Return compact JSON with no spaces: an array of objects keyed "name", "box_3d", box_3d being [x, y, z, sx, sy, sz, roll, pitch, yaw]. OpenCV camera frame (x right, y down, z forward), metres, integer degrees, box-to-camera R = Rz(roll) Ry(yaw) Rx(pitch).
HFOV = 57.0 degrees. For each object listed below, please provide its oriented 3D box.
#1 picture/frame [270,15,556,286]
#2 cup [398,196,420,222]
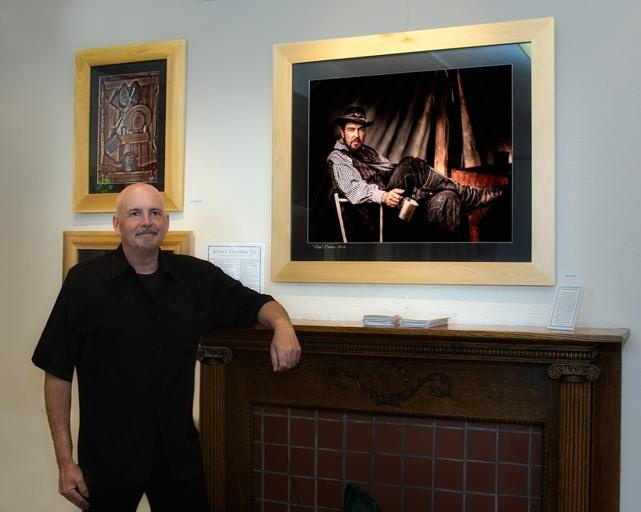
[{"name":"picture/frame","box_3d":[0.544,-0.528,3.083,1.258,1.204,0.095,-1,-4,16]},{"name":"cup","box_3d":[0.457,-0.238,3.101,0.120,0.128,0.077,23,10,18]}]
